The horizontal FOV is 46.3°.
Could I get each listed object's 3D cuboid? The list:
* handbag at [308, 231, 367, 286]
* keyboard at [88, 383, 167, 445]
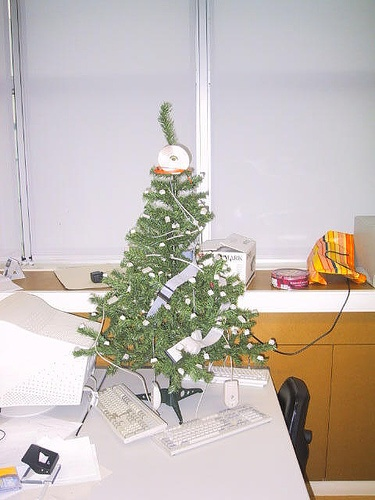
[{"bbox_3d":[0.797,0.054,2.379,0.303,0.109,0.285,14,53,10],"label":"handbag"},{"bbox_3d":[-0.201,0.522,1.417,0.130,0.031,0.300,-18,18,-33],"label":"keyboard"}]
